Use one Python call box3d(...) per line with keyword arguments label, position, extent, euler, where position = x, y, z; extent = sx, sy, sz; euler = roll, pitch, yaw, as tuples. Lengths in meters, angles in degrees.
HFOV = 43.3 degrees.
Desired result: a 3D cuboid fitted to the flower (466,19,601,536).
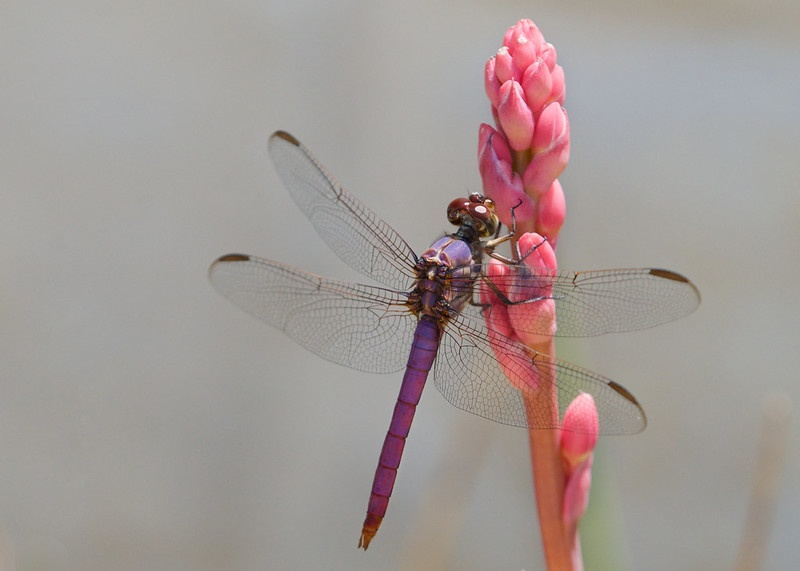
box3d(label="flower", position=(0.291, -0.072, 2.129), extent=(0.233, 0.936, 0.655), euler=(-1, -38, 11))
